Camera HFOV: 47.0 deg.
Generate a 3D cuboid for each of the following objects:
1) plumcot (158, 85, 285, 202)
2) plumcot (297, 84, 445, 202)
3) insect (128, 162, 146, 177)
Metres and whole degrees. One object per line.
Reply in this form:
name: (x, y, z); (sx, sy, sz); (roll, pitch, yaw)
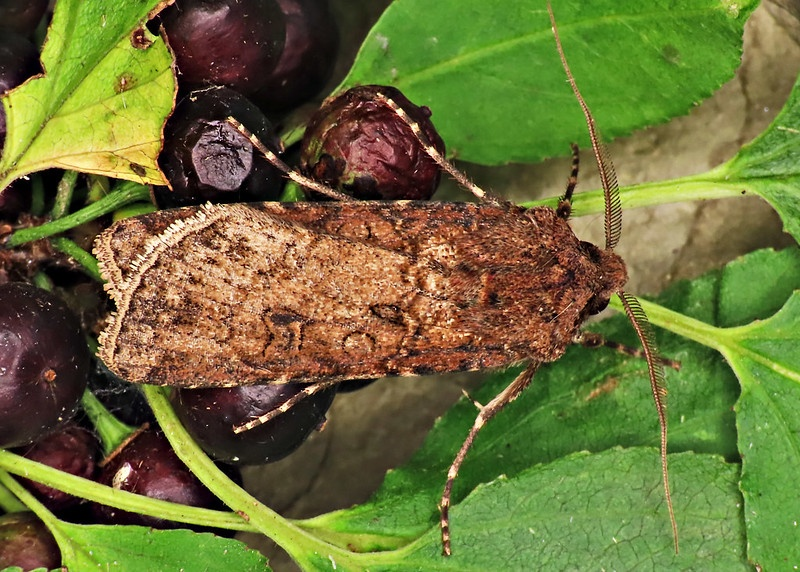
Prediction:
plumcot: (-0.946, -0.684, 4.610); (0.553, 0.183, 0.600); (1, 89, -22)
plumcot: (-0.162, -0.712, 4.725); (0.634, 0.361, 0.613); (5, 76, 0)
insect: (-1.301, -0.583, 4.569); (0.056, 0.021, 0.077); (-31, 98, 5)
